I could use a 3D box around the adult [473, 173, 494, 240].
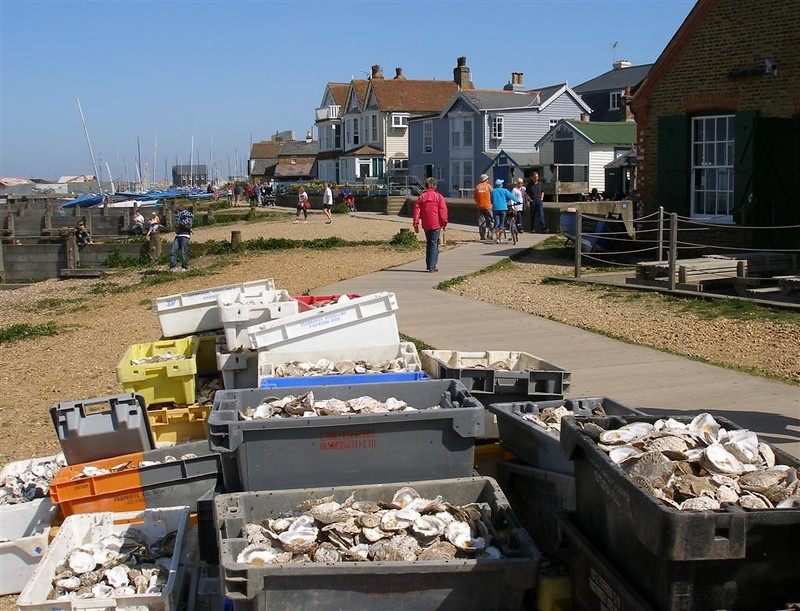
[{"bbox_3d":[2.679,-3.082,26.687,0.529,2.099,1.483,-4,9,6],"label":"adult"}]

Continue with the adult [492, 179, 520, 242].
[{"bbox_3d":[3.322,-3.086,26.932,0.694,1.923,2.049,-3,10,11],"label":"adult"}]

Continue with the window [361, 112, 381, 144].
[{"bbox_3d":[-2.375,-14.914,70.322,0.217,2.102,2.711,-4,7,-17],"label":"window"}]

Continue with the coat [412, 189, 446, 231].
[{"bbox_3d":[0.702,-2.255,19.764,0.701,0.992,1.175,-6,9,-2],"label":"coat"}]

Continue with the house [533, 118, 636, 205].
[{"bbox_3d":[10.100,-8.464,46.191,3.141,3.755,6.059,5,10,33],"label":"house"}]

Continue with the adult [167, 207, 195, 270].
[{"bbox_3d":[-6.514,-1.965,24.985,0.828,1.730,3.079,-8,10,-15],"label":"adult"}]

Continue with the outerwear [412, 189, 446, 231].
[{"bbox_3d":[0.702,-2.255,19.764,0.701,0.992,1.175,-6,9,-2],"label":"outerwear"}]
